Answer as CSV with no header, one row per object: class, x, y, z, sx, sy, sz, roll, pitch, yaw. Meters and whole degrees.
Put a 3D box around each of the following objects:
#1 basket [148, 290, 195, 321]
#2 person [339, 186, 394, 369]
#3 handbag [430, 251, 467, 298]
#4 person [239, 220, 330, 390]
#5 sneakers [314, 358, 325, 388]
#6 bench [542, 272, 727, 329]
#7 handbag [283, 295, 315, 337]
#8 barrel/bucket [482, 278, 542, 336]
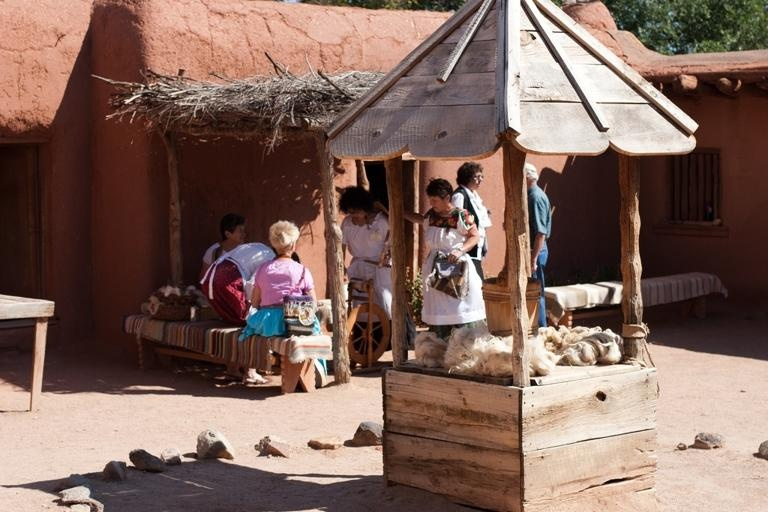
basket,-2.821,0.684,11.449,0.432,0.266,0.445,3,5,14
person,-0.243,0.297,11.566,0.668,2.417,0.587,-1,9,-8
handbag,0.707,0.203,9.210,0.371,0.371,0.165,21,19,23
person,-1.259,0.622,10.644,1.047,2.089,0.472,-1,9,-6
sneakers,-0.800,1.493,10.917,0.221,0.294,0.295,0,4,-1
bench,3.927,0.638,13.631,3.728,0.589,0.509,-6,11,-33
handbag,-1.054,0.748,10.569,0.447,0.553,0.297,5,-5,-44
barrel/bucket,1.143,0.465,8.054,0.522,0.479,0.489,-1,3,0
